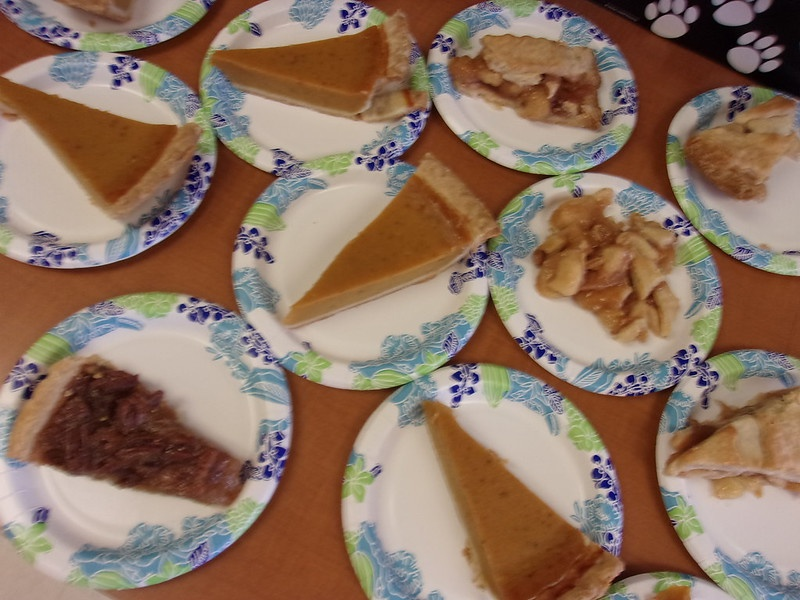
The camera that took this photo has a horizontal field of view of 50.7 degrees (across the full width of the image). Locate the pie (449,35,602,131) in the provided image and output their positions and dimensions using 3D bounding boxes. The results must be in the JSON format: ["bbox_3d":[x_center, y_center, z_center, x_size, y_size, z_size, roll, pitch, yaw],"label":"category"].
[{"bbox_3d":[0.324,-0.554,2.105,0.407,0.083,0.203,10,71,-2],"label":"pie"}]

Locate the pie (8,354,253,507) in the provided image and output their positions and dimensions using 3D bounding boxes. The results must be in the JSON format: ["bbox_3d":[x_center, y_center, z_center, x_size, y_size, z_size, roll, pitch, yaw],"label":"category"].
[{"bbox_3d":[-0.550,0.280,1.805,0.503,0.045,0.252,17,70,1],"label":"pie"}]

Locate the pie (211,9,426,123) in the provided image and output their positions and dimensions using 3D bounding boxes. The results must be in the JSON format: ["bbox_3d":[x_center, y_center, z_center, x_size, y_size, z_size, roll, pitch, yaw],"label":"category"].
[{"bbox_3d":[-0.157,-0.555,2.086,0.553,0.178,0.227,3,65,-1],"label":"pie"}]
